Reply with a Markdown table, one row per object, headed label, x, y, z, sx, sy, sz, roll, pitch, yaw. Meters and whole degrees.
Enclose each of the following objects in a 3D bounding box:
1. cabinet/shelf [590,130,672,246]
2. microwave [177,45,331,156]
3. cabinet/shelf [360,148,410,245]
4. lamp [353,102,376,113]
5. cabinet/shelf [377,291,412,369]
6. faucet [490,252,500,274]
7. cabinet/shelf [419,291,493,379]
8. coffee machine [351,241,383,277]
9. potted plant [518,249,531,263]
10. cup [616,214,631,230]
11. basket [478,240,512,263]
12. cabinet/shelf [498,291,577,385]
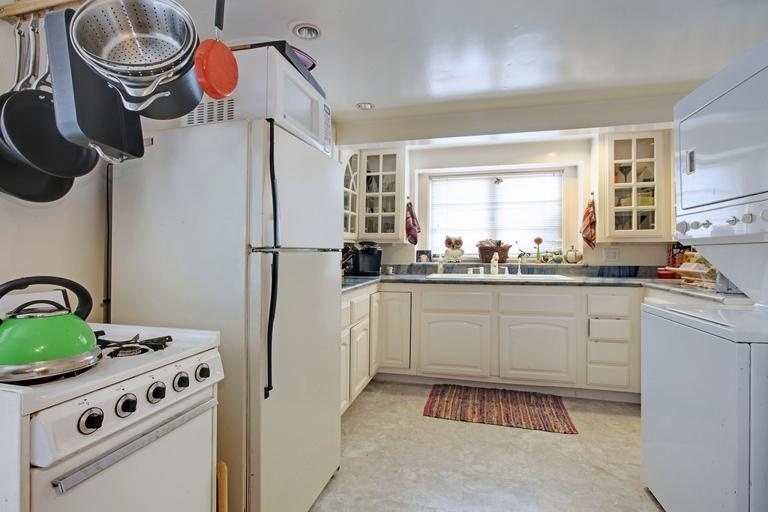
| label | x | y | z | sx | sy | sz | roll | pitch | yaw |
| --- | --- | --- | --- | --- | --- | --- | --- | --- | --- |
| cabinet/shelf | 2.124 | -0.581 | 4.543 | 0.654 | 0.936 | 0.191 | 7 | 15 | 27 |
| microwave | -0.636 | -0.682 | 2.749 | 0.443 | 0.325 | 0.643 | 1 | 3 | 14 |
| cabinet/shelf | -0.015 | -0.577 | 5.084 | 0.450 | 0.861 | 0.289 | 0 | 13 | -1 |
| lamp | -0.148 | -1.185 | 4.255 | 0.149 | 0.053 | 0.187 | -1 | 12 | -3 |
| cabinet/shelf | 0.102 | 0.609 | 4.537 | 0.271 | 0.609 | 0.212 | 0 | 13 | 1 |
| faucet | 1.045 | 0.063 | 5.052 | 0.081 | 0.194 | 0.202 | 3 | 13 | 11 |
| cabinet/shelf | 0.619 | 0.647 | 4.408 | 0.682 | 0.898 | 0.465 | -1 | -7 | 17 |
| coffee machine | -0.150 | 0.012 | 4.809 | 0.315 | 0.301 | 0.261 | 2 | 3 | 41 |
| potted plant | 1.347 | 0.000 | 5.173 | 0.129 | 0.150 | 0.092 | 6 | 1 | 13 |
| cup | 2.057 | -0.292 | 4.612 | 0.131 | 0.133 | 0.137 | 1 | 1 | 0 |
| basket | 1.032 | -0.045 | 5.014 | 0.201 | 0.165 | 0.270 | 1 | 0 | 5 |
| cabinet/shelf | 1.244 | 0.645 | 4.251 | 0.700 | 0.916 | 0.479 | -1 | -6 | 20 |
